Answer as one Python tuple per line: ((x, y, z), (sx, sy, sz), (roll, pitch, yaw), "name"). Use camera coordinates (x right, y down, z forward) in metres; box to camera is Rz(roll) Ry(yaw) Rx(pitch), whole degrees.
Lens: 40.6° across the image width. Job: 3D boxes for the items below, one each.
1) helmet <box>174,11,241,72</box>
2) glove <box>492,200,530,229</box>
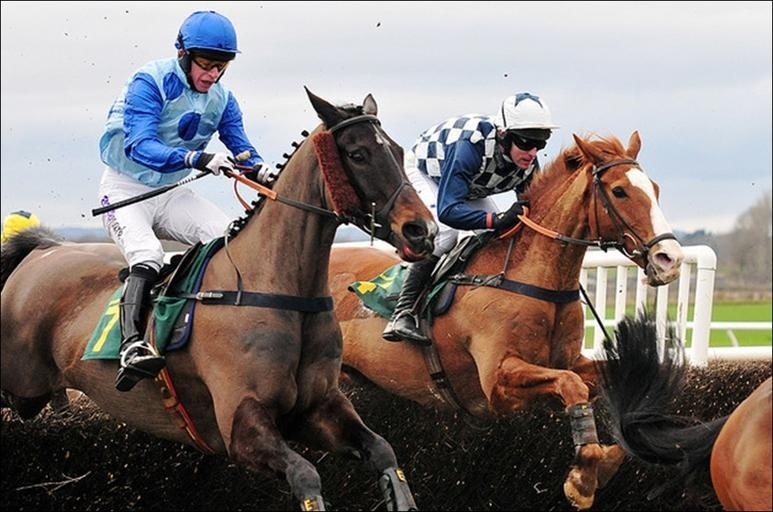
((-1.024, -1.319, 6.081), (0.342, 0.219, 0.415), (2, 15, -40), "helmet")
((0.804, -0.267, 6.826), (0.210, 0.096, 0.156), (-40, 11, 6), "glove")
